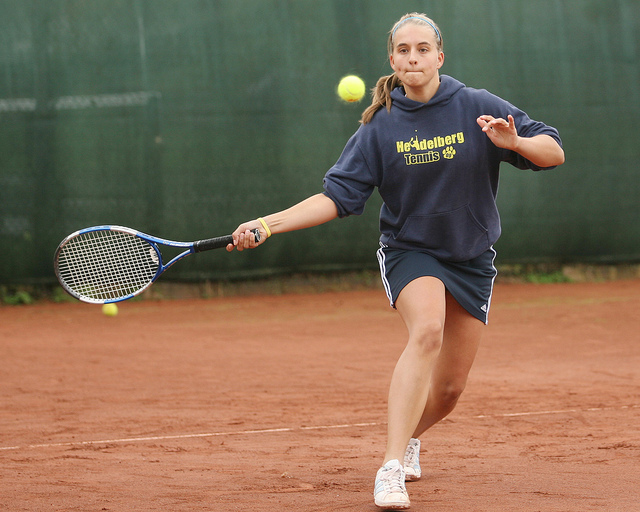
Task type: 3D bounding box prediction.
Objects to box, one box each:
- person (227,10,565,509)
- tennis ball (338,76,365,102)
[{"bbox_3d":[0.484,-0.004,4.204,1.159,2.255,0.742,-7,10,-29],"label":"person"},{"bbox_3d":[0.236,-1.216,6.488,0.226,0.235,0.230,4,8,-1],"label":"tennis ball"}]
